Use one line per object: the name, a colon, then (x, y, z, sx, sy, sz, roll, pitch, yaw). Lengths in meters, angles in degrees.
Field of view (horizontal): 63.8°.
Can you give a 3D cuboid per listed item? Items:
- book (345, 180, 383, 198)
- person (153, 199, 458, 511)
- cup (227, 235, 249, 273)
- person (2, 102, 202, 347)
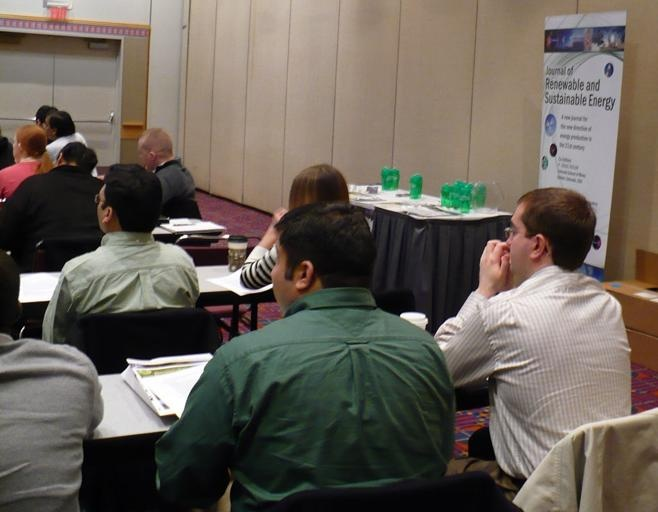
book: (0.403, -0.723, 5.697, 0.300, 0.092, 0.295, -6, 14, -35)
person: (-0.049, 0.261, 1.282, 0.654, 0.767, 0.450, 7, 8, 28)
cup: (-0.574, -0.025, 3.276, 0.129, 0.225, 0.134, 3, 11, -1)
person: (-1.134, -0.093, 2.727, 0.941, 1.242, 1.341, -2, 20, -27)
